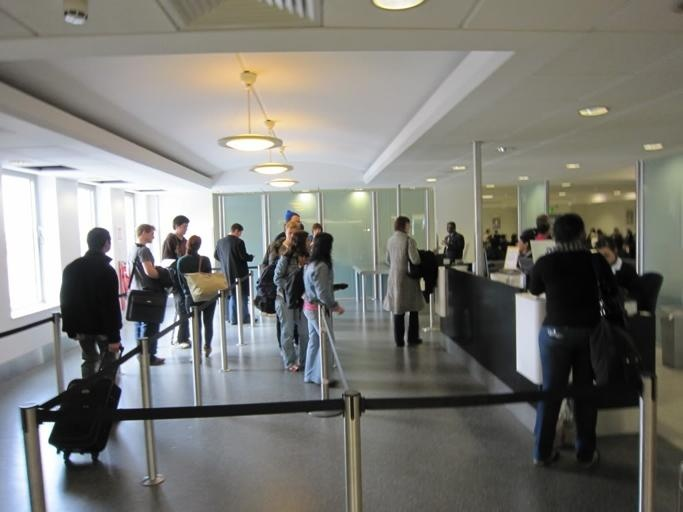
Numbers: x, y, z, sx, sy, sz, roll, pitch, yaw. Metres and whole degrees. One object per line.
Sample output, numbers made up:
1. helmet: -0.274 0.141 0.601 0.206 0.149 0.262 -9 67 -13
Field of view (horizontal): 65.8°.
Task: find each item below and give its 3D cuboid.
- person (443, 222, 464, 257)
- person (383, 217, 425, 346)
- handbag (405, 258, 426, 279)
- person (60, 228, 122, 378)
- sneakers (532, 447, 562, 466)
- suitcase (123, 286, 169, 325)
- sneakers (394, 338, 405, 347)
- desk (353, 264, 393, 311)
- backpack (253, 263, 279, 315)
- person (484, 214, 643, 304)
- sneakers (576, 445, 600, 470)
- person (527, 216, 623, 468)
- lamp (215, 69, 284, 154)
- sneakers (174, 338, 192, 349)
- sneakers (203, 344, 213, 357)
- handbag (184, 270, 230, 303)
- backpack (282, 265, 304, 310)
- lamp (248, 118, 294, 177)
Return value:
1. person: 2.424 -0.314 11.376 0.400 0.785 0.749 -1 3 11
2. person: 0.973 0.411 8.183 0.591 2.022 0.701 -1 3 8
3. handbag: 1.092 0.193 7.915 0.279 0.391 0.141 -1 -4 -14
4. person: -2.605 0.511 5.505 0.619 1.589 0.309 -1 3 6
5. sneakers: 1.829 1.790 4.746 0.266 0.193 0.097 2 4 -13
6. suitcase: -2.417 0.627 6.542 0.553 0.516 0.373 4 -8 -19
7. sneakers: 0.919 1.367 8.258 0.109 0.114 0.114 -2 -6 2
8. desk: 0.736 0.595 12.937 0.712 0.937 1.458 1 -1 -2
9. backpack: -0.986 0.464 7.219 0.252 0.701 0.472 -4 4 -41
10. person: 2.572 -0.076 5.896 1.149 0.776 1.234 0 25 6
11. sneakers: 2.155 1.782 4.628 0.166 0.133 0.173 -3 4 -16
12. person: 1.986 0.739 4.498 0.696 2.194 0.284 0 3 16
13. lamp: -1.224 -1.925 6.994 0.798 0.960 0.803 -8 16 -33
14. sneakers: -2.585 1.450 8.658 0.343 0.247 0.125 6 -7 -17
15. sneakers: -2.016 1.458 8.062 0.136 0.236 0.140 3 -5 -35
16. handbag: -1.958 0.448 7.540 0.208 0.473 0.525 -39 -23 30
17. backpack: -0.578 0.398 6.554 0.225 0.497 0.300 -2 3 -7
18. lamp: -1.220 -1.830 8.863 0.701 0.849 0.721 -2 -3 13
